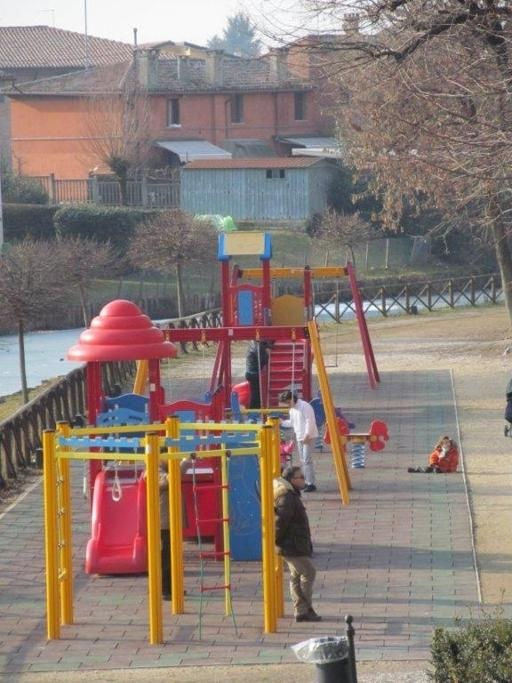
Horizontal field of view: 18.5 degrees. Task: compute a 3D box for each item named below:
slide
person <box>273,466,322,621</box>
[{"bbox_3d":[-1.455,1.853,16.495,0.550,0.755,1.141,0,24,0],"label":"slide"},{"bbox_3d":[0.358,1.939,15.012,0.357,1.364,0.595,-6,8,0],"label":"person"}]
